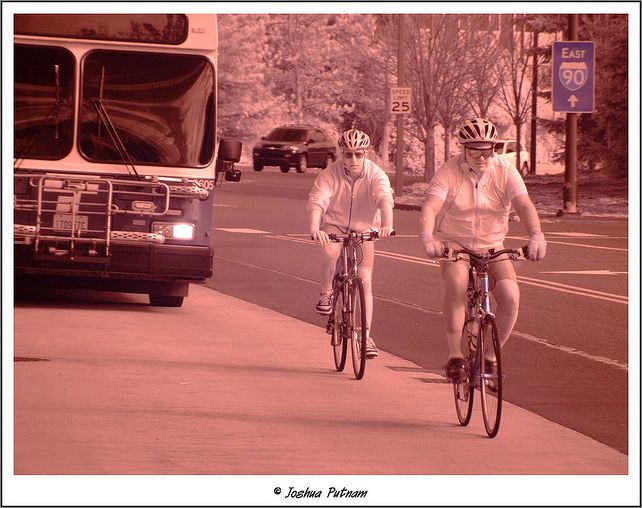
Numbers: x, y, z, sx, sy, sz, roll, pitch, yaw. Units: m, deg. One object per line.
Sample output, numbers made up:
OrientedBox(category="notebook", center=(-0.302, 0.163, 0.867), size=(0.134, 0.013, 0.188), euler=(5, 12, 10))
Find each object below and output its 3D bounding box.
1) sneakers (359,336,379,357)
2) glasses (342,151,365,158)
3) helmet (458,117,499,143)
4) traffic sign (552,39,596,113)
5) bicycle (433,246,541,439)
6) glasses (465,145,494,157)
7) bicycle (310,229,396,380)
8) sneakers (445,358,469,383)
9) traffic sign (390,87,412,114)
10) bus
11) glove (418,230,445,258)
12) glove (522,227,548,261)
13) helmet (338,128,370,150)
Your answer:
OrientedBox(category="sneakers", center=(0.443, 0.849, 7.257), size=(0.148, 0.241, 0.302), euler=(2, 6, 2))
OrientedBox(category="glasses", center=(0.317, -0.943, 7.401), size=(0.200, 0.074, 0.171), euler=(2, 6, 1))
OrientedBox(category="helmet", center=(1.199, -0.925, 5.847), size=(0.313, 0.200, 0.287), euler=(5, 7, 24))
OrientedBox(category="traffic sign", center=(8.075, -5.686, 24.970), size=(1.915, 2.251, 1.303), euler=(-4, 8, -43))
OrientedBox(category="bicycle", center=(1.201, 0.668, 5.889), size=(0.626, 1.488, 0.872), euler=(4, 6, 22))
OrientedBox(category="glasses", center=(1.201, -0.764, 5.859), size=(0.221, 0.086, 0.098), euler=(2, 6, -4))
OrientedBox(category="bicycle", center=(0.278, 0.481, 7.621), size=(0.356, 1.469, 1.113), euler=(0, 6, -20))
OrientedBox(category="sneakers", center=(1.038, 0.879, 5.975), size=(0.136, 0.197, 0.184), euler=(0, -8, 9))
OrientedBox(category="traffic sign", center=(3.074, -5.426, 29.954), size=(0.841, 1.271, 1.677), euler=(1, -14, 6))
OrientedBox(category="bus", center=(-2.646, -1.368, 10.316), size=(2.327, 2.447, 4.112), euler=(2, 6, -6))
OrientedBox(category="glove", center=(0.814, -0.068, 5.623), size=(0.183, 0.067, 0.138), euler=(28, 30, -39))
OrientedBox(category="glove", center=(1.593, -0.078, 5.749), size=(0.130, 0.111, 0.257), euler=(-18, 40, 27))
OrientedBox(category="helmet", center=(0.304, -1.073, 7.322), size=(0.279, 0.201, 0.325), euler=(2, 6, -1))
